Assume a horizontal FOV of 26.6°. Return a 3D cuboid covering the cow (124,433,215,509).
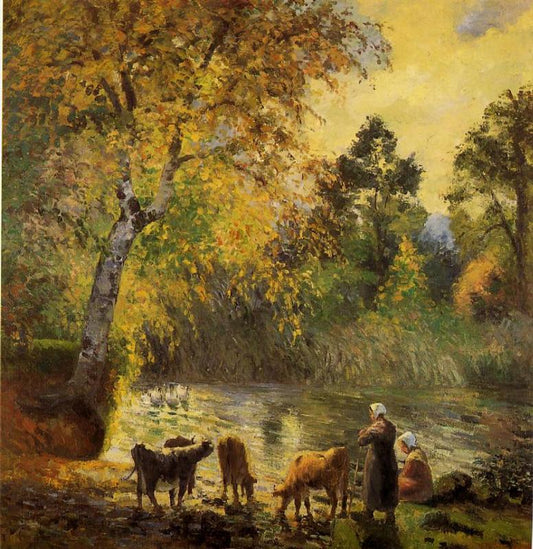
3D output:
[{"bbox_3d":[-1.036,2.179,12.328,0.843,0.769,0.341,4,-12,-2],"label":"cow"}]
